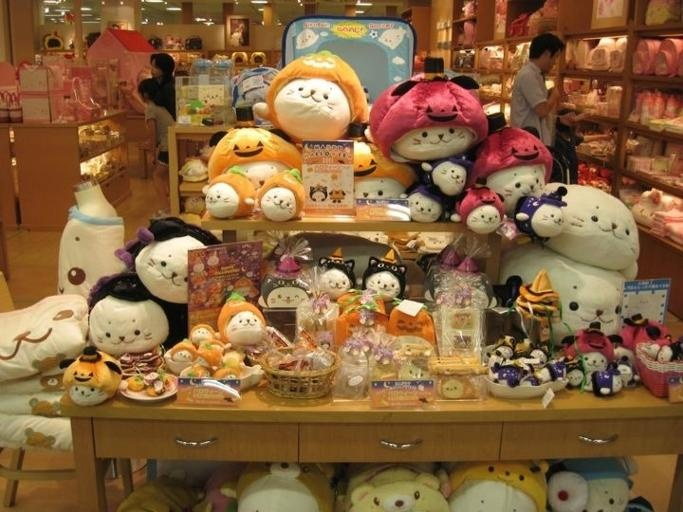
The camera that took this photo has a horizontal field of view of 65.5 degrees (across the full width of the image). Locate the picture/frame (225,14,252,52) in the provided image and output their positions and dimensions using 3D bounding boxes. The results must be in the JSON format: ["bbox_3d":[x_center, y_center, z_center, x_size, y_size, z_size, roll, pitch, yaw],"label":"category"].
[{"bbox_3d":[-2.607,-5.657,13.484,0.940,1.199,0.158,1,9,2],"label":"picture/frame"}]
